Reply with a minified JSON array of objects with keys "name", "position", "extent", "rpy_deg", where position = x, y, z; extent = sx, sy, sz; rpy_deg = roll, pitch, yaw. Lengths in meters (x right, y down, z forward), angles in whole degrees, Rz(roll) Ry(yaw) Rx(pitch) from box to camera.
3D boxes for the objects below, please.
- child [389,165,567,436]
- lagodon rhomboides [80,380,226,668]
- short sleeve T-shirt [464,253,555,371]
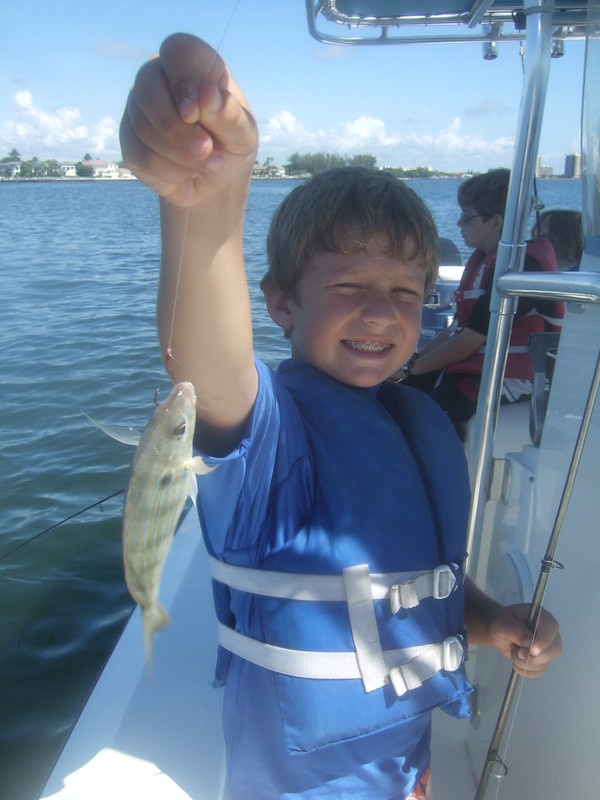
[{"name":"child","position":[0.869,-0.550,3.708],"extent":[1.032,1.256,0.819],"rpy_deg":[2,13,17]},{"name":"lagodon rhomboides","position":[-0.212,0.194,1.104],"extent":[0.142,0.448,0.099],"rpy_deg":[-2,16,-6]},{"name":"short sleeve T-shirt","position":[1.137,-0.529,3.581],"extent":[0.502,0.607,0.614],"rpy_deg":[9,25,14]}]
